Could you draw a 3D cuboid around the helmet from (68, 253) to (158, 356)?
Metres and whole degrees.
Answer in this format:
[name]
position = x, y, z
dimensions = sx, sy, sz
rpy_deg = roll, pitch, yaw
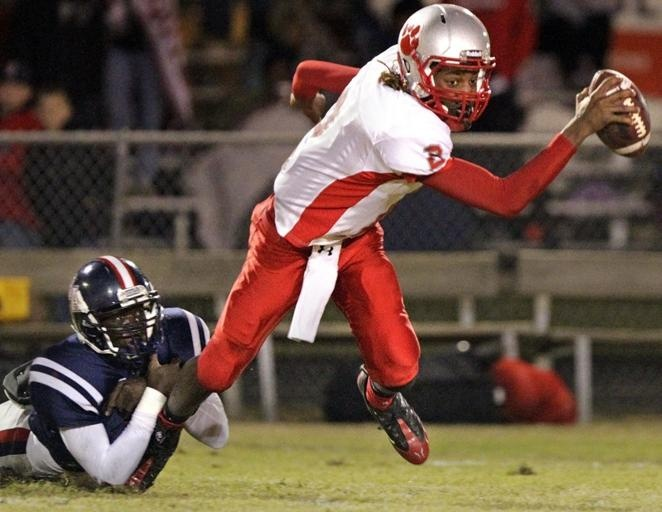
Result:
[helmet]
position = -1.120, 0.234, 7.152
dimensions = 0.491, 0.446, 0.578
rpy_deg = -13, 22, -31
